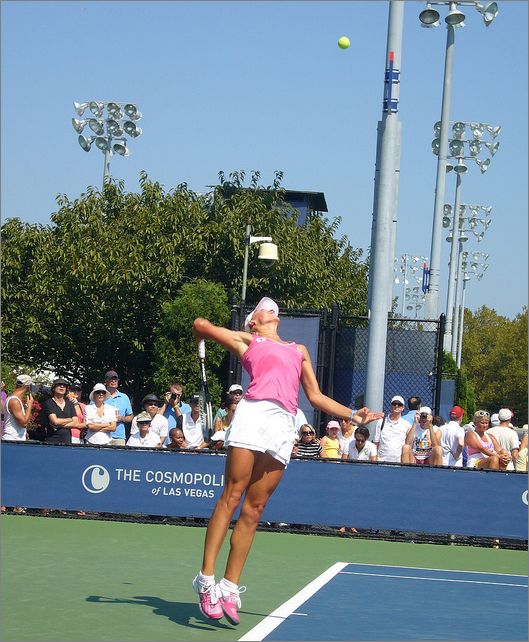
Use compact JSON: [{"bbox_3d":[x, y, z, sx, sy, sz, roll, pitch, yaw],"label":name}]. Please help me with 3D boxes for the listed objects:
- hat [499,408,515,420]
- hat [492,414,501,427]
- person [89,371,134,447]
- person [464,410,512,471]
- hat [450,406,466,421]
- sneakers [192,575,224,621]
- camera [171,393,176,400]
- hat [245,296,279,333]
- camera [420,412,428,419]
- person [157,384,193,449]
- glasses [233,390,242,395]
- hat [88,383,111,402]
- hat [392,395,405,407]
[{"bbox_3d":[2.900,1.098,17.257,0.143,0.114,0.197,9,26,25],"label":"hat"},{"bbox_3d":[2.818,1.197,17.514,0.122,0.163,0.160,1,-12,2],"label":"hat"},{"bbox_3d":[-1.813,1.223,17.025,0.447,1.296,0.358,-1,-9,-17],"label":"person"},{"bbox_3d":[2.490,1.463,16.012,0.467,0.890,0.302,2,5,38],"label":"person"},{"bbox_3d":[2.203,1.072,16.549,0.126,0.109,0.194,2,19,21],"label":"hat"},{"bbox_3d":[-0.436,2.014,10.408,0.134,0.385,0.171,-9,-25,-34],"label":"sneakers"},{"bbox_3d":[-1.141,0.908,17.462,0.085,0.091,0.054,6,7,16],"label":"camera"},{"bbox_3d":[-0.054,-0.007,10.998,0.184,0.351,0.092,21,6,2],"label":"hat"},{"bbox_3d":[1.761,1.034,15.887,0.081,0.085,0.057,1,-12,1],"label":"camera"},{"bbox_3d":[-1.151,1.278,17.468,0.326,1.005,0.314,9,-15,0],"label":"person"},{"bbox_3d":[-0.316,0.790,16.136,0.052,0.058,0.018,9,7,0],"label":"glasses"},{"bbox_3d":[-1.908,0.724,16.059,0.227,0.157,0.277,-5,-27,-5],"label":"hat"},{"bbox_3d":[1.529,0.906,16.494,0.162,0.124,0.275,2,-25,7],"label":"hat"}]
